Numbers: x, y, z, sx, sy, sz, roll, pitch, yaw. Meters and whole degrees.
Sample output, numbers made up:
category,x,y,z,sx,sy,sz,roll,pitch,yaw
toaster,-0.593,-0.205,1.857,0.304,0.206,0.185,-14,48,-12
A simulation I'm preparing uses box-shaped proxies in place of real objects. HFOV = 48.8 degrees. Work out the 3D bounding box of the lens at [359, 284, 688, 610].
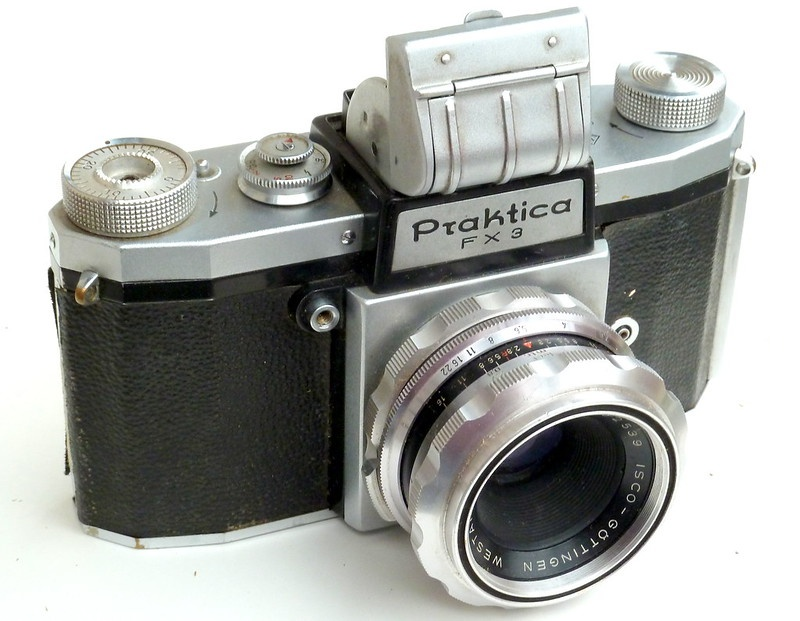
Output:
category,x,y,z,sx,sy,sz,roll,pitch,yaw
lens,0.154,0.196,1.200,0.365,0.375,0.194,5,24,-28
